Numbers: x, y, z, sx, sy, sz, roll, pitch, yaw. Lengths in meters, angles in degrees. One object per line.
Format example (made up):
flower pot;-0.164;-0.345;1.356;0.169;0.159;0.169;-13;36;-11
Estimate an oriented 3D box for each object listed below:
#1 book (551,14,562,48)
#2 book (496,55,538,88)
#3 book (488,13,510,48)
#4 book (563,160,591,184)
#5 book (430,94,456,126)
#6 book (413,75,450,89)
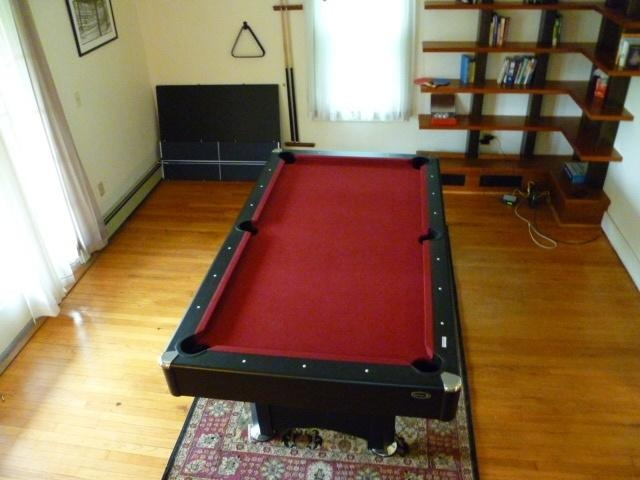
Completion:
book;2.219;-1.972;4.594;0.096;0.267;0.203;10;31;22
book;1.919;-1.640;4.789;0.323;0.321;0.075;7;17;10
book;1.696;-1.997;4.669;0.165;0.291;0.296;2;52;8
book;2.502;-0.656;4.794;0.213;0.055;0.227;-4;46;9
book;1.239;-1.340;5.046;0.310;0.300;0.329;2;42;9
book;1.121;-1.558;4.843;0.272;0.039;0.164;7;34;18
